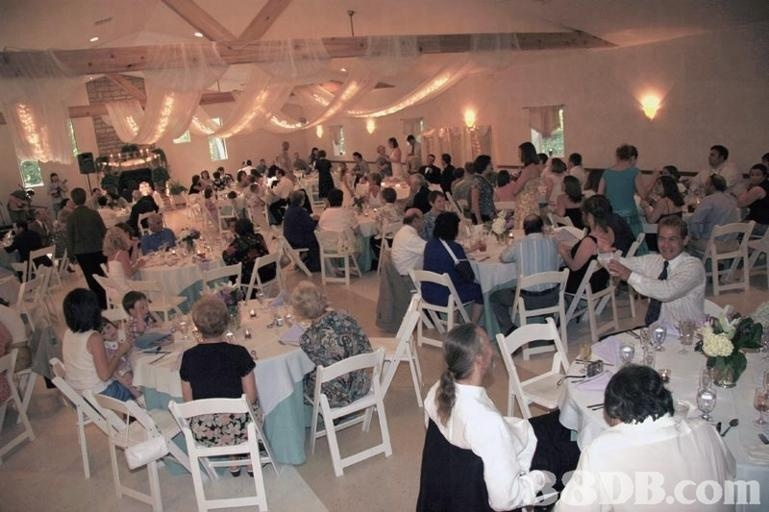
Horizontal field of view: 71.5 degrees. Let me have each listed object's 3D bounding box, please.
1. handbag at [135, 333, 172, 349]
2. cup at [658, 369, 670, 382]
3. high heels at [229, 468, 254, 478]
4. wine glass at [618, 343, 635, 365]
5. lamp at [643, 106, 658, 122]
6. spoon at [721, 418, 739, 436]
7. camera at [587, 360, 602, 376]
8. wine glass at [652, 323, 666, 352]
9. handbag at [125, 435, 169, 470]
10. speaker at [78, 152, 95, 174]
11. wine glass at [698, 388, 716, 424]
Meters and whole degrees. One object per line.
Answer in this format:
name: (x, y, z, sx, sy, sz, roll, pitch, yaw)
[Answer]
handbag: (-2.419, 0.867, 5.471, 0.197, 0.060, 0.200, 1, 4, 19)
cup: (2.289, 0.980, 4.356, 0.080, 0.107, 0.190, -6, 3, 29)
high heels: (-1.390, 2.128, 5.249, 0.264, 0.105, 0.105, 3, 4, -8)
wine glass: (2.042, 0.829, 4.481, 0.109, 0.173, 0.202, -7, 3, 21)
lamp: (5.566, -2.963, 11.140, 0.074, 0.265, 0.292, -10, 3, -32)
spoon: (2.597, 1.285, 4.003, 0.201, 0.087, 0.052, -9, 3, -30)
camera: (1.775, 0.950, 4.500, 0.099, 0.095, 0.035, -12, 13, -33)
wine glass: (2.415, 0.710, 4.686, 0.103, 0.259, 0.305, -6, 3, 27)
handbag: (-2.073, 1.709, 4.683, 0.362, 0.246, 0.119, -16, 6, -34)
speaker: (-9.289, -2.869, 16.519, 0.409, 0.767, 0.442, 24, 30, 23)
wine glass: (2.444, 1.118, 4.044, 0.122, 0.248, 0.216, -6, 3, 29)
